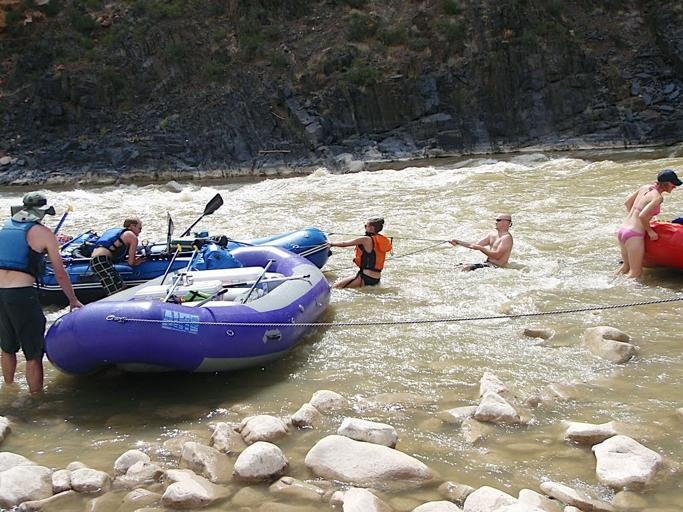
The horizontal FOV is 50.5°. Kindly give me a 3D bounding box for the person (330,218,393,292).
[{"bbox_3d":[0.298,-0.051,10.516,0.844,0.997,0.468,-6,9,15],"label":"person"}]

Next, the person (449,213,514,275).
[{"bbox_3d":[2.072,-0.107,10.946,1.125,0.838,0.545,-1,16,5],"label":"person"}]

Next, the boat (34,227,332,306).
[{"bbox_3d":[-2.206,0.035,10.574,3.654,0.472,1.471,-7,4,-8],"label":"boat"}]

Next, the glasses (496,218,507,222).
[{"bbox_3d":[2.378,-0.542,10.792,0.136,0.049,0.050,-1,9,31],"label":"glasses"}]

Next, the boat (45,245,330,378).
[{"bbox_3d":[-1.514,0.732,8.333,1.663,1.039,2.842,0,7,41],"label":"boat"}]
